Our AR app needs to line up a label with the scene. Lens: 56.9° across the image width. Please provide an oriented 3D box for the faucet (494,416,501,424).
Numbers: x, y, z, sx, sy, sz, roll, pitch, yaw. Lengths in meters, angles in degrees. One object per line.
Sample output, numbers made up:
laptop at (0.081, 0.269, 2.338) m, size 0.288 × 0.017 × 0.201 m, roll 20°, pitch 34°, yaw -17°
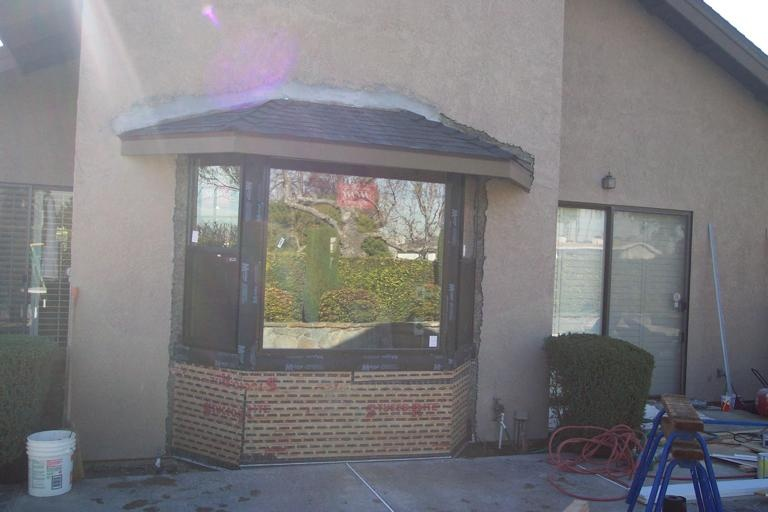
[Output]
faucet at (1.690, 2.443, 10.501) m, size 0.108 × 0.109 × 0.045 m, roll 1°, pitch 12°, yaw -6°

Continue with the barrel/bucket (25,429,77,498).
barrel/bucket at (-4.010, 2.515, 8.575) m, size 0.534 × 0.669 × 0.442 m, roll -3°, pitch 13°, yaw -25°

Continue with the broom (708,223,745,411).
broom at (5.998, 1.081, 12.691) m, size 0.272 × 3.690 × 0.598 m, roll -6°, pitch -26°, yaw 26°
